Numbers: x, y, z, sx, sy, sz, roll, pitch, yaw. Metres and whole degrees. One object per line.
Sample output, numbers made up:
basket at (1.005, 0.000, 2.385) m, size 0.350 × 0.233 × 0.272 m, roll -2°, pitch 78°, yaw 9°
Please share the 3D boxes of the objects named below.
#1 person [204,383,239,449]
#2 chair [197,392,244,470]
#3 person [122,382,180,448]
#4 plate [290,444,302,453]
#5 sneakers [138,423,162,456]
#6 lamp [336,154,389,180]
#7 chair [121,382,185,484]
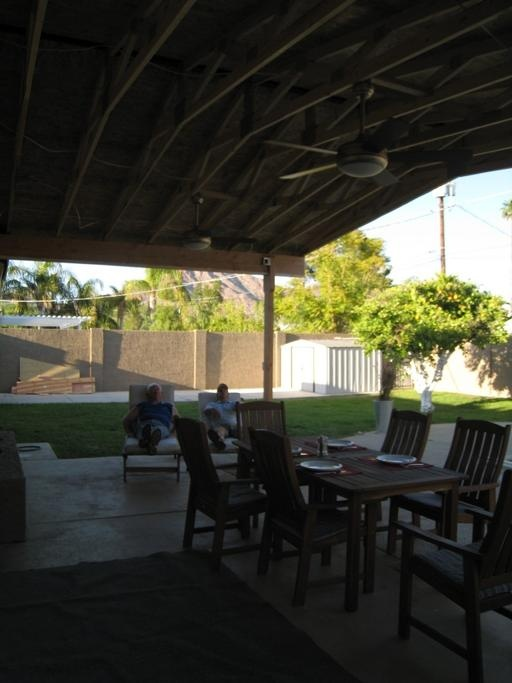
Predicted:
person at (-0.348, 0.825, 6.464) m, size 0.452 × 0.678 × 1.244 m, roll -1°, pitch -2°, yaw -7°
chair at (-0.415, 0.926, 6.524) m, size 0.455 × 0.663 × 1.214 m, roll 1°, pitch -7°, yaw -4°
person at (-1.163, 0.847, 6.441) m, size 0.626 × 0.658 × 1.267 m, roll 6°, pitch -4°, yaw -11°
plate at (0.295, 0.790, 4.132) m, size 0.103 × 0.047 × 0.174 m, roll 0°, pitch 0°, yaw 2°
sneakers at (-1.108, 1.029, 5.929) m, size 0.211 × 0.306 × 0.110 m, roll 1°, pitch -11°, yaw 30°
lamp at (0.836, -1.418, 4.492) m, size 0.326 × 0.147 × 0.281 m, roll 2°, pitch 2°, yaw -32°
chair at (-1.190, 1.028, 6.540) m, size 0.688 × 0.852 × 1.380 m, roll 1°, pitch -5°, yaw -8°
